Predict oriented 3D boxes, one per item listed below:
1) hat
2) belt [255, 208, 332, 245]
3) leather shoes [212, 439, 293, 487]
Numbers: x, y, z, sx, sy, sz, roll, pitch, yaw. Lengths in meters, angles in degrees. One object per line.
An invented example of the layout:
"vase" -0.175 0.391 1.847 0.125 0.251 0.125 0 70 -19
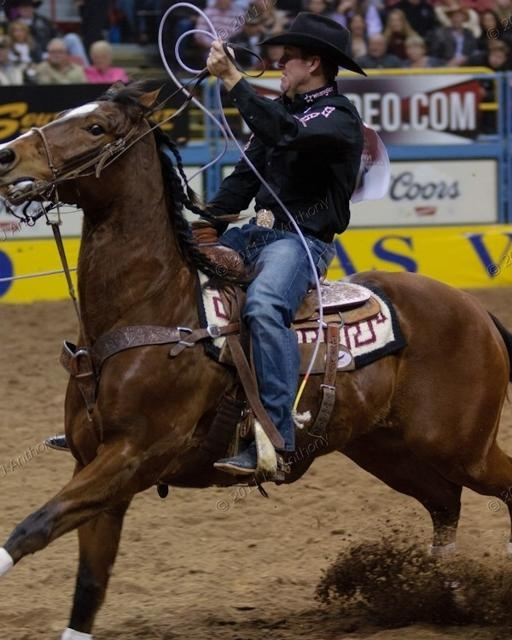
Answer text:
"hat" 0.250 -1.154 3.849 0.367 0.114 0.266 21 -5 -17
"belt" 0.155 -0.398 3.855 0.185 0.197 0.183 -6 36 15
"leather shoes" -0.002 0.526 3.523 0.381 0.124 0.118 14 -13 -28
